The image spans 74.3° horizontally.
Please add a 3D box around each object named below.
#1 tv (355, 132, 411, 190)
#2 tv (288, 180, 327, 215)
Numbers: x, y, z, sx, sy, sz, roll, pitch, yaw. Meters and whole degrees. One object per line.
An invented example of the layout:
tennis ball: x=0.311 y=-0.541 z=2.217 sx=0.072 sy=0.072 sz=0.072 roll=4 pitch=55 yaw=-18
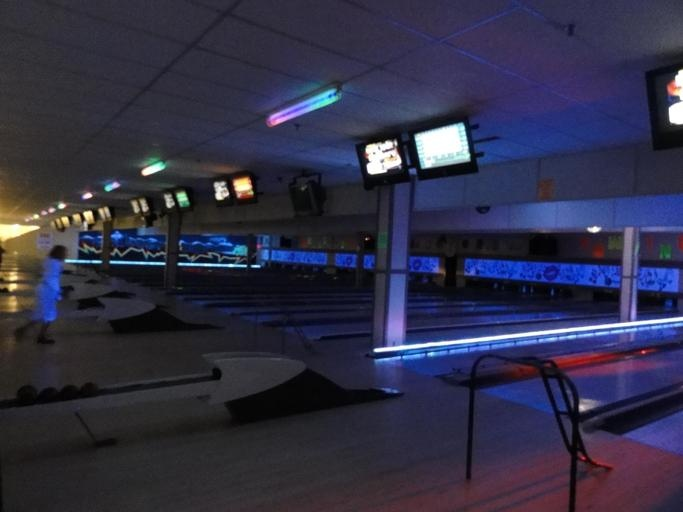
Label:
tv: x=0.551 y=-1.167 z=5.451 sx=0.684 sy=0.579 sz=0.228 roll=-2 pitch=14 yaw=42
tv: x=-0.577 y=-1.052 z=7.893 sx=0.550 sy=0.705 sz=0.574 roll=-5 pitch=-9 yaw=23
